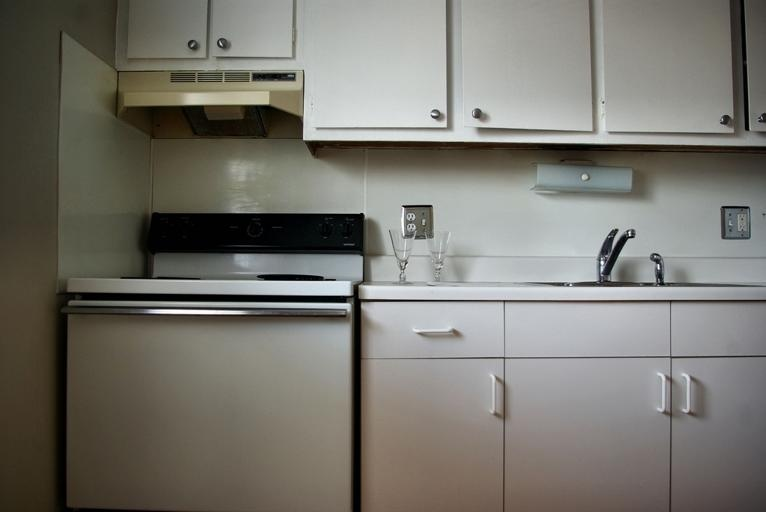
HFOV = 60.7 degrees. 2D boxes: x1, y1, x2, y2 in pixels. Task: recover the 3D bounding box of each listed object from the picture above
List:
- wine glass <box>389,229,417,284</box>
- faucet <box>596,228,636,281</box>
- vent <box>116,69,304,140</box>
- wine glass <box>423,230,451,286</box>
[{"bbox_3d":[0.096,0.002,3.260,0.121,0.257,0.187,0,2,3],"label":"wine glass"},{"bbox_3d":[1.139,0.003,3.228,0.120,0.264,0.200,0,2,-3],"label":"faucet"},{"bbox_3d":[-0.817,-0.751,3.243,0.898,0.286,0.344,0,2,3],"label":"vent"},{"bbox_3d":[0.280,0.005,3.293,0.123,0.251,0.162,0,1,3],"label":"wine glass"}]
